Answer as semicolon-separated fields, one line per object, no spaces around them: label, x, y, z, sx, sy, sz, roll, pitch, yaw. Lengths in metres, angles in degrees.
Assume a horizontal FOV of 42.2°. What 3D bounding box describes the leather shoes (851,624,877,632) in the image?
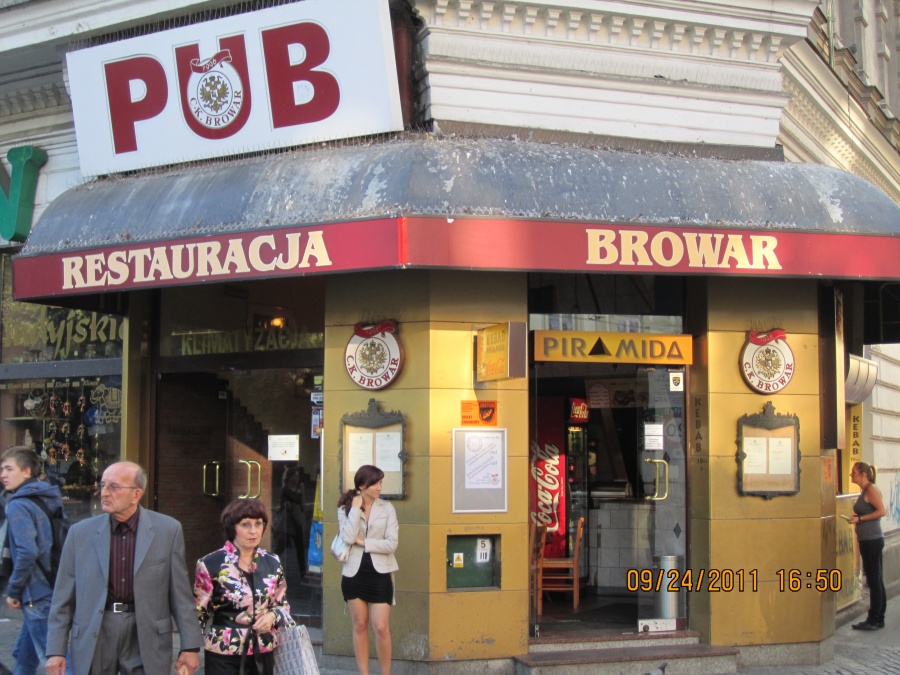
leather shoes;5.259;3.611;14.755;0.260;0.117;0.101;3;-7;15

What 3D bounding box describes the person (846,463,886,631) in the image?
person;5.396;2.626;15.013;0.443;2.146;0.642;-3;-11;20

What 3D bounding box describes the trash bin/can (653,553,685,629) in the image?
trash bin/can;2.460;2.796;12.994;0.321;0.790;0.146;-2;-10;11

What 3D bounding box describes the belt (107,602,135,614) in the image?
belt;-2.576;2.094;9.134;0.195;0.081;0.035;0;-10;0

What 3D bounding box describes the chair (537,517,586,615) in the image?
chair;1.375;2.779;14.617;0.710;1.009;0.696;4;-6;-29
